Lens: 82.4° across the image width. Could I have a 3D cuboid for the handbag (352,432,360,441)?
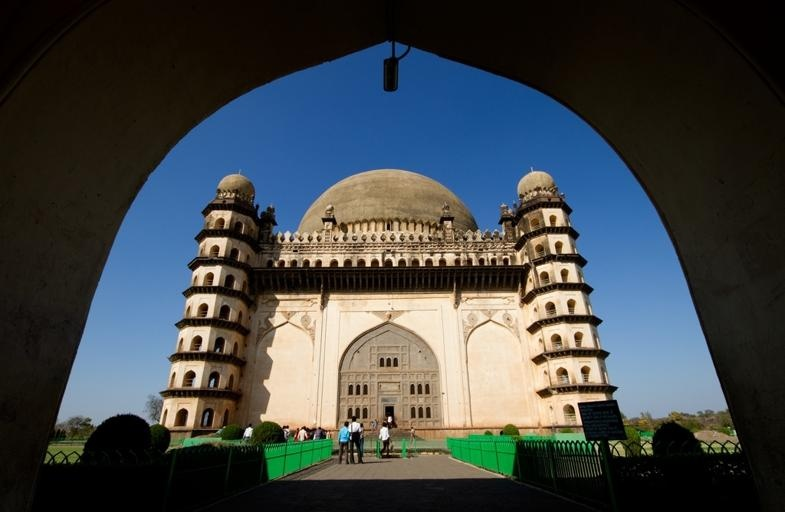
[{"bbox_3d":[-1.063,5.167,12.789,0.242,0.247,0.249,4,-18,-14],"label":"handbag"}]
